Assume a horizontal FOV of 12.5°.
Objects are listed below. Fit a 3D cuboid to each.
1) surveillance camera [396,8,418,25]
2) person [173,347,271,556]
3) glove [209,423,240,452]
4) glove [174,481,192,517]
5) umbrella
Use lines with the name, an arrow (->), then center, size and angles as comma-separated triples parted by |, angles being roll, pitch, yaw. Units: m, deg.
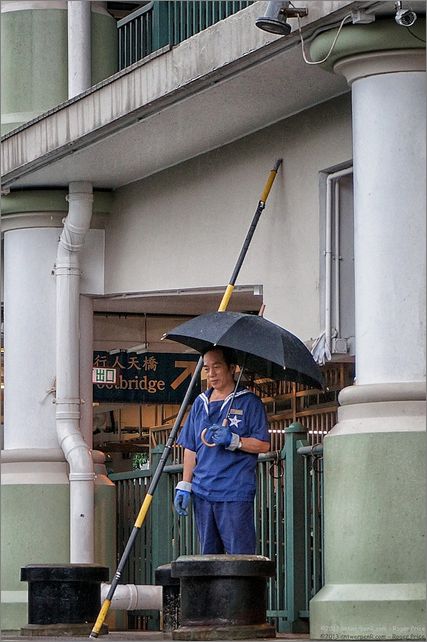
surveillance camera -> 1.209, -1.924, 12.226 | 0.131, 0.112, 0.294 | -2, -6, 5
person -> 0.036, 0.844, 12.708 | 0.688, 1.358, 0.512 | -6, -7, 42
glove -> 0.071, 0.740, 12.407 | 0.172, 0.068, 0.130 | 37, 0, 44
glove -> -0.183, 1.150, 12.732 | 0.087, 0.237, 0.144 | 17, -14, -41
umbrella -> 0.249, 0.196, 12.748 | 0.737, 0.669, 0.737 | 32, -11, 1
